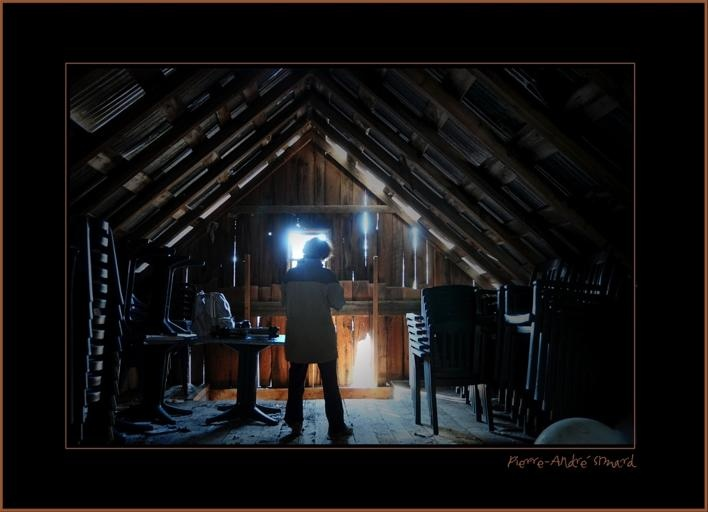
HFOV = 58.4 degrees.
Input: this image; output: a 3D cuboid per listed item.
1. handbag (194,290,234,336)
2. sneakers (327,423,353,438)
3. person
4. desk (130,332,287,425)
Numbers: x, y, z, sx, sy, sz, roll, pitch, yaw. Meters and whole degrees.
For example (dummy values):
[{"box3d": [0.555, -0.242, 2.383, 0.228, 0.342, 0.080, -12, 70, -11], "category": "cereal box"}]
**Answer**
[{"box3d": [-1.542, 0.670, 7.017, 0.424, 0.444, 0.507, -3, -12, -10], "category": "handbag"}, {"box3d": [-0.112, 1.475, 5.368, 0.236, 0.117, 0.090, -2, -1, -19], "category": "sneakers"}, {"box3d": [-0.327, 0.700, 5.443, 0.559, 1.699, 0.420, 0, -9, -2], "category": "person"}, {"box3d": [-1.240, 1.130, 5.753, 1.155, 0.791, 1.223, 2, -10, -10], "category": "desk"}]
